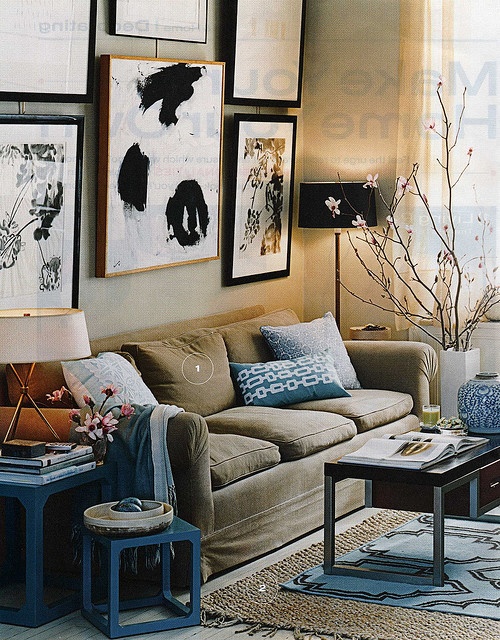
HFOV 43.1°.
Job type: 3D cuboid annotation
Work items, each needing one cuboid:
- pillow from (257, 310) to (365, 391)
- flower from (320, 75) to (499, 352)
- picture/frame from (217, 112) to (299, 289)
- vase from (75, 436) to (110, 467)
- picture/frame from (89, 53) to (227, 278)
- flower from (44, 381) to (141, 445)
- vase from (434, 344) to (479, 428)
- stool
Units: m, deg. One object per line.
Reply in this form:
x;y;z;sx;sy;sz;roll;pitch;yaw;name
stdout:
0.359;0.202;3.678;0.516;0.585;0.151;-1;-34;5;pillow
1.163;-0.676;4.291;1.056;1.745;0.409;5;9;42;flower
0.028;-0.803;4.174;0.046;1.244;1.022;8;15;29;picture/frame
-0.505;0.423;2.037;0.093;0.099;0.079;0;0;-21;vase
-0.499;-0.809;3.268;0.136;1.452;1.205;3;5;30;picture/frame
-0.517;0.340;2.017;0.162;0.169;0.181;5;22;9;flower
1.378;0.493;4.106;0.282;0.598;0.283;-4;23;12;vase
-0.313;0.729;1.829;0.305;0.316;0.305;-2;3;-39;stool
